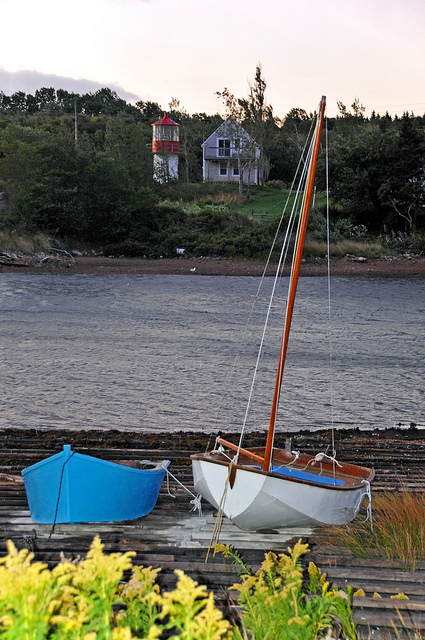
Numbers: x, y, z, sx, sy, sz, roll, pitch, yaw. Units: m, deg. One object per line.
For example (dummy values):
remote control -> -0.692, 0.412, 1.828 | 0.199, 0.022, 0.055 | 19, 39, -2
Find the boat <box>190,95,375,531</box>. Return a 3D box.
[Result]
boat -> 1.119, 0.095, 14.020 | 1.770, 4.863, 2.786 | 6, -7, 33
